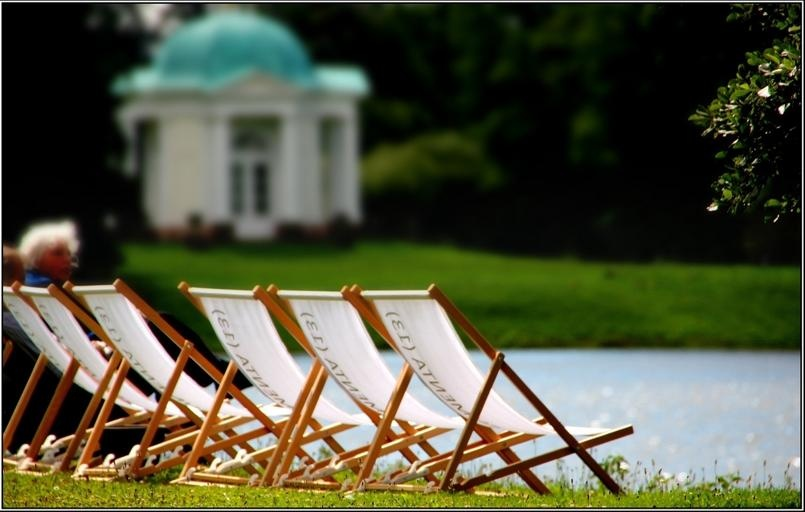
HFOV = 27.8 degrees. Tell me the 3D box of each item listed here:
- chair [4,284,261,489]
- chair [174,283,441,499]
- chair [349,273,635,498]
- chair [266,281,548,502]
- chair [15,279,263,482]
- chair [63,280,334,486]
[{"bbox_3d":[-2.988,1.465,18.585,1.949,1.710,2.564,-6,-10,43],"label":"chair"},{"bbox_3d":[-0.743,1.527,18.217,2.005,2.160,2.654,-3,-18,30],"label":"chair"},{"bbox_3d":[0.861,1.406,18.154,2.703,2.317,1.908,-1,1,-37],"label":"chair"},{"bbox_3d":[0.336,1.366,17.863,2.151,2.281,2.634,-6,-4,45],"label":"chair"},{"bbox_3d":[-2.907,1.475,18.651,1.912,1.646,2.517,-9,-12,44],"label":"chair"},{"bbox_3d":[-2.314,1.269,18.731,2.698,2.497,1.819,-4,-2,-38],"label":"chair"}]
